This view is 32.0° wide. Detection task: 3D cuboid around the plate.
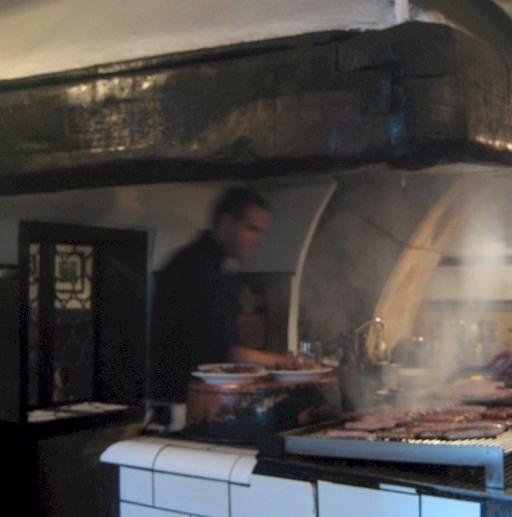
[{"bbox_3d":[0.020,0.330,2.560,0.392,0.042,0.300,-1,-2,2],"label":"plate"}]
